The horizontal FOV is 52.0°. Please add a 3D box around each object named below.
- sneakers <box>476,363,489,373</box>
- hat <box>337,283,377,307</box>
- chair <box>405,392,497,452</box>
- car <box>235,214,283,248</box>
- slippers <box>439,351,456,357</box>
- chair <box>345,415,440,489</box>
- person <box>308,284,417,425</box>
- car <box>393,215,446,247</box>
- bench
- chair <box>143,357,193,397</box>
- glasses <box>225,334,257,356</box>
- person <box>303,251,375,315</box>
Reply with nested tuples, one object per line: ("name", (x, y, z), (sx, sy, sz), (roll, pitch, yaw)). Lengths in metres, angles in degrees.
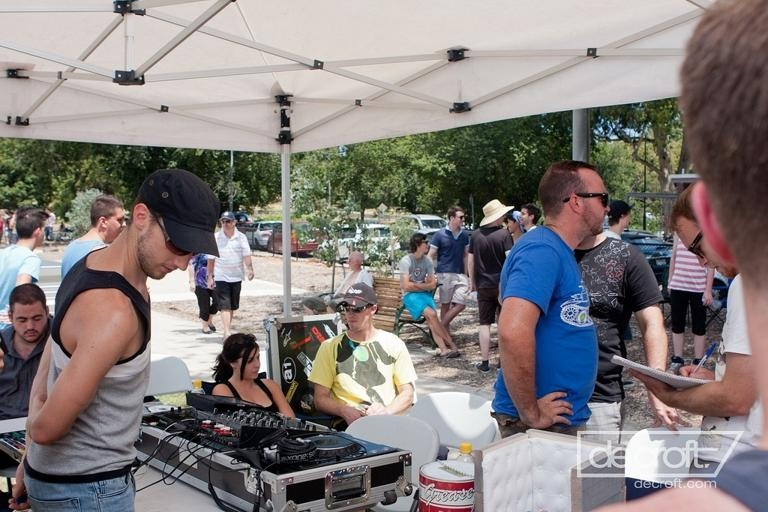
("sneakers", (1.248, 1.363, 9.826), (0.159, 0.115, 0.300), (1, -1, 8))
("hat", (-0.198, 0.326, 6.570), (0.242, 0.138, 0.177), (14, -10, -41))
("chair", (0.498, 1.143, 5.581), (0.467, 0.407, 0.565), (-1, 4, 13))
("car", (-5.110, -0.860, 30.268), (1.288, 0.992, 2.995), (-4, 11, -26))
("slippers", (0.880, 1.299, 10.487), (0.234, 0.086, 0.114), (1, -1, -4))
("chair", (0.103, 1.366, 5.473), (0.513, 0.572, 0.479), (-6, -25, 20))
("person", (-0.153, 0.823, 6.563), (0.977, 1.076, 0.738), (1, 1, -10))
("car", (1.145, -0.865, 23.679), (0.890, 0.820, 1.904), (0, -1, -24))
("bench", (0.006, 0.658, 9.167), (0.393, 0.599, 1.016), (-6, 7, -37))
("chair", (-1.841, 1.031, 6.749), (0.530, 0.256, 0.529), (-2, -4, 3))
("glasses", (-1.172, 0.706, 6.455), (0.201, 0.187, 0.155), (-15, 5, 25))
("person", (-0.657, 0.347, 10.296), (1.042, 0.776, 0.491), (-7, 5, -29))
